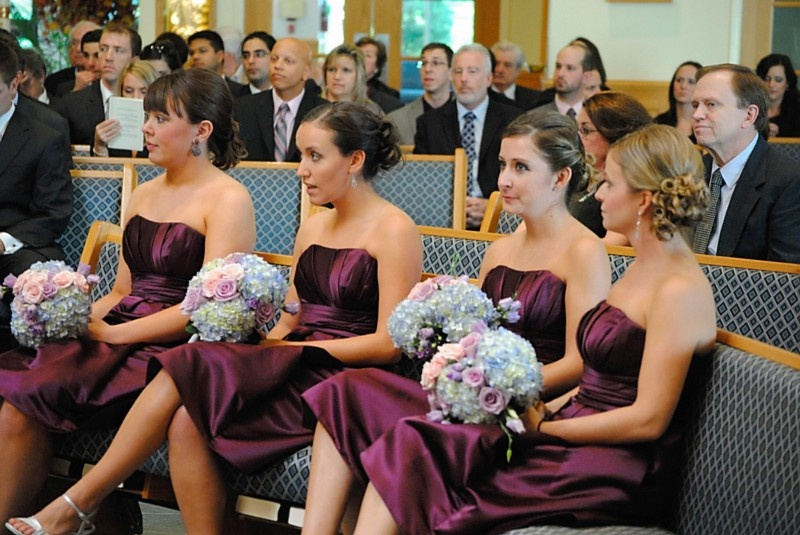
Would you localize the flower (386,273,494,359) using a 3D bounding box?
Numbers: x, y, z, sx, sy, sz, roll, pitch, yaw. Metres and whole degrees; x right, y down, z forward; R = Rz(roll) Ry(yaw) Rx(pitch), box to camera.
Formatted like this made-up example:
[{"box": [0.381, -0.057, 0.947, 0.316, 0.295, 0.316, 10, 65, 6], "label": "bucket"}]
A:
[{"box": [0.123, 0.174, 2.567, 0.295, 0.298, 0.325, -24, -4, 41], "label": "flower"}]

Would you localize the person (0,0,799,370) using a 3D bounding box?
[{"box": [0.025, -0.596, 4.202, 3.449, 1.495, 1.092, 1, 2, 37], "label": "person"}]

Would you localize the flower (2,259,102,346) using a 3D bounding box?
[{"box": [-1.512, 0.153, 3.212, 0.353, 0.361, 0.386, -14, 1, 13], "label": "flower"}]

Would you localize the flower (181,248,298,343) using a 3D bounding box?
[{"box": [-0.679, 0.173, 3.032, 0.376, 0.403, 0.389, -27, 37, 3], "label": "flower"}]

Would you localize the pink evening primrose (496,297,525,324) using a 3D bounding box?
[{"box": [0.421, 0.162, 2.609, 0.057, 0.103, 0.101, 3, 14, -35], "label": "pink evening primrose"}]

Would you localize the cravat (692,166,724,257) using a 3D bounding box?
[{"box": [1.479, -0.237, 3.337, 0.084, 0.535, 0.061, 10, -10, -16], "label": "cravat"}]

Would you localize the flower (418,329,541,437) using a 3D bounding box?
[{"box": [0.282, 0.381, 2.397, 0.400, 0.361, 0.186, 4, 10, 13], "label": "flower"}]

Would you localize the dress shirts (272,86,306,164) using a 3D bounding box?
[{"box": [-1.031, -1.257, 6.201, 0.302, 0.579, 0.130, 1, -12, 1], "label": "dress shirts"}]

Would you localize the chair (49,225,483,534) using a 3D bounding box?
[{"box": [-0.513, 0.565, 3.196, 1.177, 1.378, 1.415, 16, -17, -43], "label": "chair"}]

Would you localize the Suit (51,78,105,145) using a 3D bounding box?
[{"box": [-2.921, -1.428, 6.427, 0.688, 0.735, 0.189, -2, -5, 28], "label": "Suit"}]

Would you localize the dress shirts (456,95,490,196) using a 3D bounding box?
[{"box": [0.620, -1.030, 5.991, 0.480, 0.723, 0.187, -2, -7, 9], "label": "dress shirts"}]
